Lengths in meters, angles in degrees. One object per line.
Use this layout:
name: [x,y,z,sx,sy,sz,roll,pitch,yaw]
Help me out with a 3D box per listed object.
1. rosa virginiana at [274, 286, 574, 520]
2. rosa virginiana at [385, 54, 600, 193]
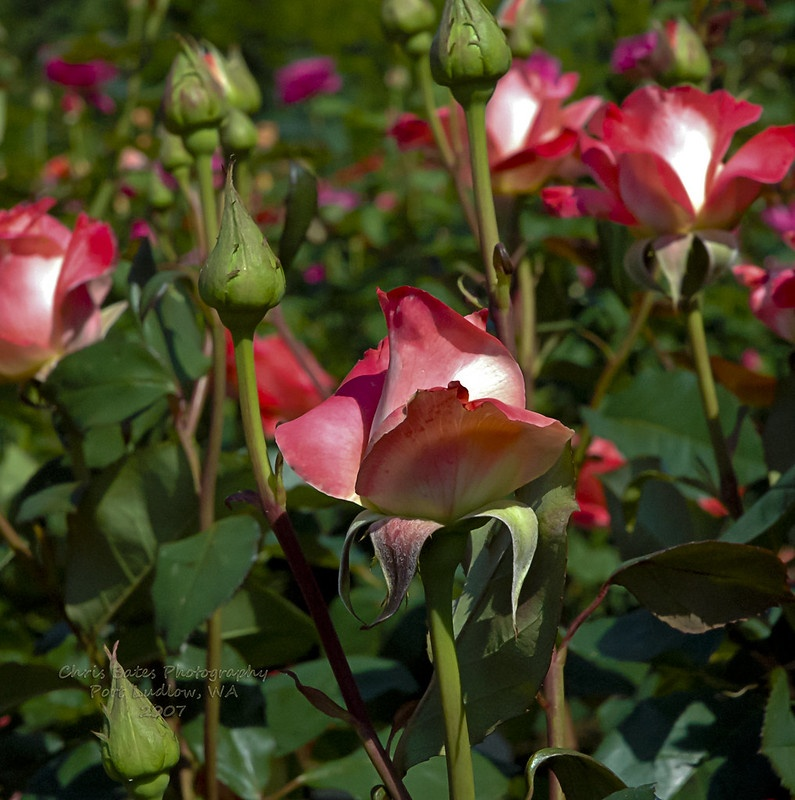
rosa virginiana: [0.026,0.006,0.548,0.167,0.148,0.103,-1,77,-13]
rosa virginiana: [0.075,-0.195,0.764,0.123,0.067,0.127,-28,10,20]
